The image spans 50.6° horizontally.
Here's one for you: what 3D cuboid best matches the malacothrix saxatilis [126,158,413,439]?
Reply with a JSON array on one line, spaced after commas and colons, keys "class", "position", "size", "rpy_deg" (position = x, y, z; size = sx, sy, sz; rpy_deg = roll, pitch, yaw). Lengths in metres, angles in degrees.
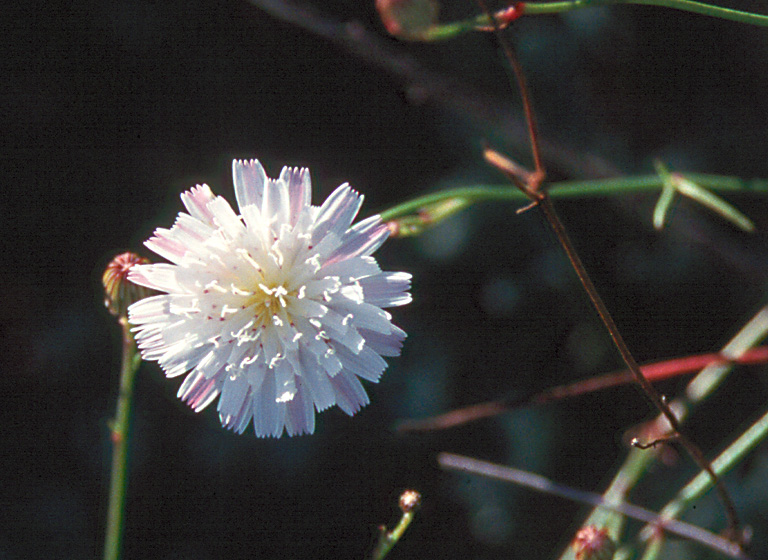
[{"class": "malacothrix saxatilis", "position": [-0.212, 0.012, 1.508], "size": [0.492, 0.339, 0.441], "rpy_deg": [13, -61, -19]}]
